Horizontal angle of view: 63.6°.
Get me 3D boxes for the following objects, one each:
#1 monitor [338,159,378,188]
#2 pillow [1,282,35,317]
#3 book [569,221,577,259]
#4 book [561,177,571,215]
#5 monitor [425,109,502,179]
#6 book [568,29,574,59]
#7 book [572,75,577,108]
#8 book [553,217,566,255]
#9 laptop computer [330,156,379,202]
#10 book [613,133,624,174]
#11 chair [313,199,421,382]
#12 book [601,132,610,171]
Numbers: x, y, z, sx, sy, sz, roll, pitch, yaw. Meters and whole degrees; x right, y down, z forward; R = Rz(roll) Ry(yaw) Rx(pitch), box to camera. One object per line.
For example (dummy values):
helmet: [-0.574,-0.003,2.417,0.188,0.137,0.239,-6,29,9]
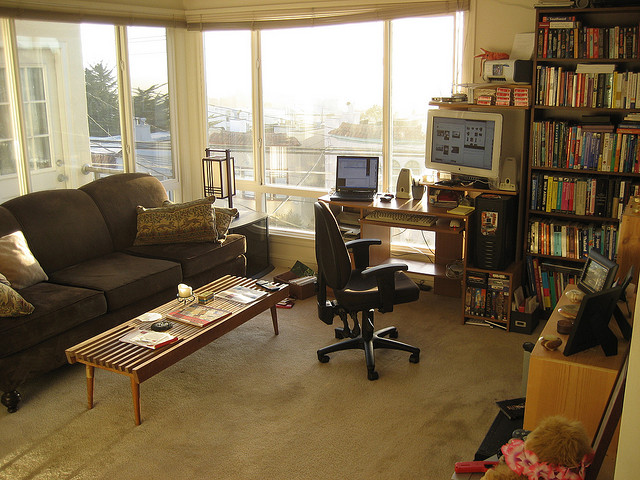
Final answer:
monitor: [0.379,-0.621,5.103,0.475,0.339,0.252,3,11,10]
pillow: [-2.035,0.404,3.415,0.173,0.209,0.152,-1,14,5]
book: [2.100,0.016,4.281,0.077,0.222,0.235,2,16,26]
book: [2.026,-0.364,4.250,0.054,0.222,0.219,7,4,23]
monitor: [1.224,-0.843,4.462,0.670,0.567,0.093,11,20,42]
book: [1.952,-1.526,4.001,0.038,0.164,0.168,7,-4,20]
book: [2.009,-1.181,4.066,0.028,0.234,0.022,2,15,14]
book: [2.012,-0.019,4.329,0.086,0.239,0.257,2,19,19]
laptop computer: [0.321,-0.587,4.860,0.437,0.379,0.328,5,18,18]
book: [2.327,-0.695,4.030,0.051,0.219,0.224,10,6,25]
chair: [0.352,0.350,3.896,0.783,1.144,0.798,-2,13,-3]
book: [2.252,-0.687,4.061,0.052,0.218,0.224,9,4,27]
